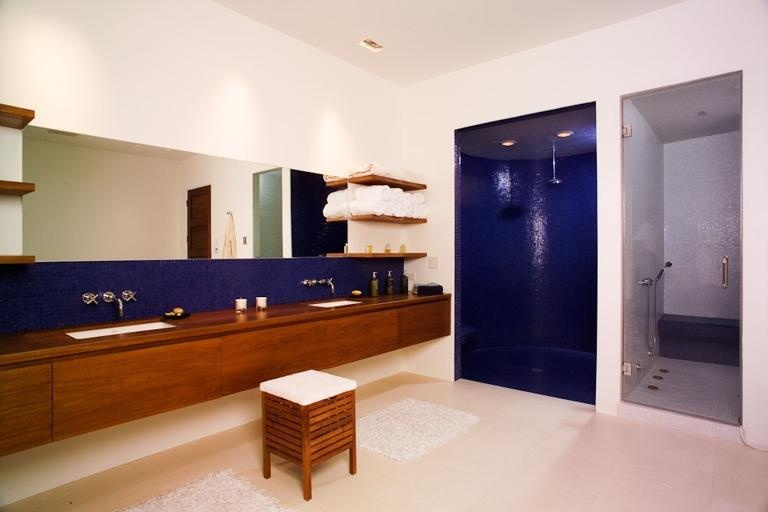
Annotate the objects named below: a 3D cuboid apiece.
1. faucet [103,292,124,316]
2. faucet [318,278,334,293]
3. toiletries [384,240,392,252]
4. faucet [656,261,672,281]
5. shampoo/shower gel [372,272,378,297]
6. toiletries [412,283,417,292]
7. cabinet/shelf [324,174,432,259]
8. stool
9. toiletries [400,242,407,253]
[{"bbox_3d":[-2.102,0.362,3.898,0.129,0.203,0.072,-1,14,-3],"label":"faucet"},{"bbox_3d":[-0.573,0.288,5.104,0.040,0.131,0.146,-2,-4,39],"label":"faucet"},{"bbox_3d":[0.051,-0.108,5.668,0.113,0.148,0.111,1,-2,-9],"label":"toiletries"},{"bbox_3d":[2.533,0.118,4.552,0.074,0.194,0.070,7,25,-31],"label":"faucet"},{"bbox_3d":[-0.102,0.291,5.471,0.092,0.216,0.203,-1,14,-1],"label":"shampoo/shower gel"},{"bbox_3d":[0.356,0.350,5.726,0.018,0.065,0.066,12,-8,-15],"label":"toiletries"},{"bbox_3d":[-0.060,-0.197,5.408,0.760,0.851,1.335,-1,-2,40],"label":"cabinet/shelf"},{"bbox_3d":[-0.521,1.311,3.990,0.789,0.943,0.806,-2,-3,37],"label":"stool"},{"bbox_3d":[0.224,-0.099,5.801,0.092,0.140,0.101,1,-3,20],"label":"toiletries"}]
